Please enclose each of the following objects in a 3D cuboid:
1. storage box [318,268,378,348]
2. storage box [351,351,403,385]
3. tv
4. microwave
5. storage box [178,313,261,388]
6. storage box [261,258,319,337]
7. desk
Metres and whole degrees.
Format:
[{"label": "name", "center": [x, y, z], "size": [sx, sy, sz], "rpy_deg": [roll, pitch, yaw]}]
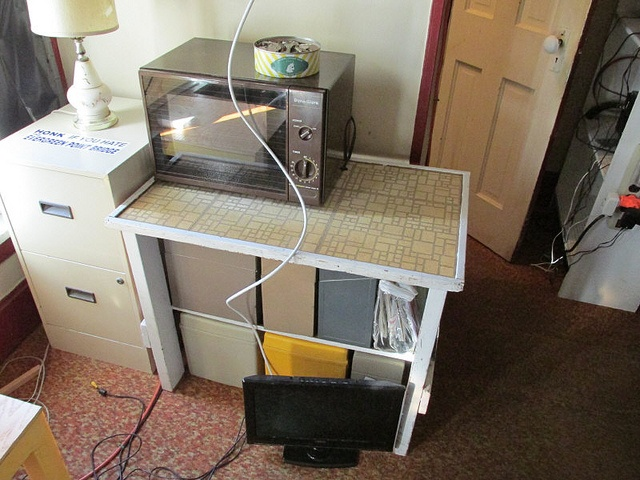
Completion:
[{"label": "storage box", "center": [0.108, 0.235, 1.878], "size": [0.218, 0.312, 0.167], "rpy_deg": [9, 45, 13]}, {"label": "storage box", "center": [0.218, 0.482, 2.069], "size": [0.196, 0.131, 0.183], "rpy_deg": [8, 0, -28]}, {"label": "tv", "center": [0.021, 0.676, 1.960], "size": [0.444, 0.308, 0.120], "rpy_deg": [3, 46, 2]}, {"label": "microwave", "center": [-0.205, -0.451, 2.007], "size": [0.864, 0.556, 0.557], "rpy_deg": [9, 38, 13]}, {"label": "storage box", "center": [-0.405, 0.454, 2.171], "size": [0.268, 0.260, 0.197], "rpy_deg": [11, 40, 13]}, {"label": "storage box", "center": [-0.103, 0.200, 1.903], "size": [0.217, 0.309, 0.169], "rpy_deg": [8, 43, 12]}, {"label": "desk", "center": [-0.061, 0.328, 2.607], "size": [1.617, 1.352, 1.032], "rpy_deg": [12, 42, 13]}]
